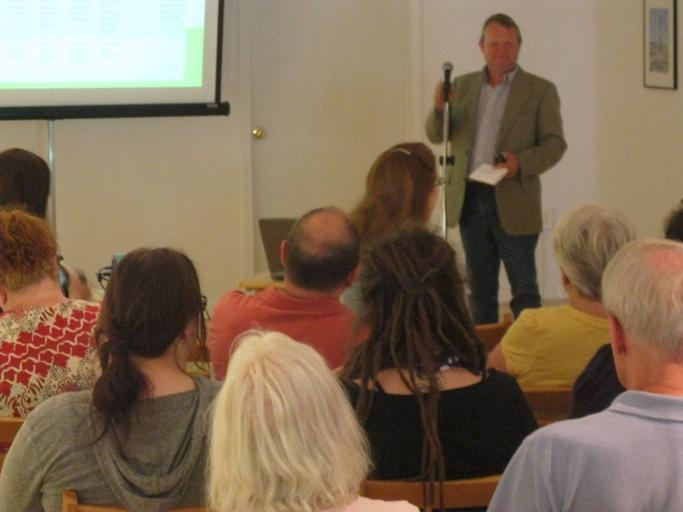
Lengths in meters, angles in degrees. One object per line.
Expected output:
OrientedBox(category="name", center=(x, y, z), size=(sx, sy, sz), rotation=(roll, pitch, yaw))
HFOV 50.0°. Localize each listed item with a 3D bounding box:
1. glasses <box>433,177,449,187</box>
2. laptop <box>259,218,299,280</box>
OrientedBox(category="glasses", center=(0.517, -0.385, 3.836), size=(0.094, 0.049, 0.156), rotation=(1, 0, 4))
OrientedBox(category="laptop", center=(-0.349, -0.059, 4.098), size=(0.288, 0.275, 0.265), rotation=(0, 7, -32))
